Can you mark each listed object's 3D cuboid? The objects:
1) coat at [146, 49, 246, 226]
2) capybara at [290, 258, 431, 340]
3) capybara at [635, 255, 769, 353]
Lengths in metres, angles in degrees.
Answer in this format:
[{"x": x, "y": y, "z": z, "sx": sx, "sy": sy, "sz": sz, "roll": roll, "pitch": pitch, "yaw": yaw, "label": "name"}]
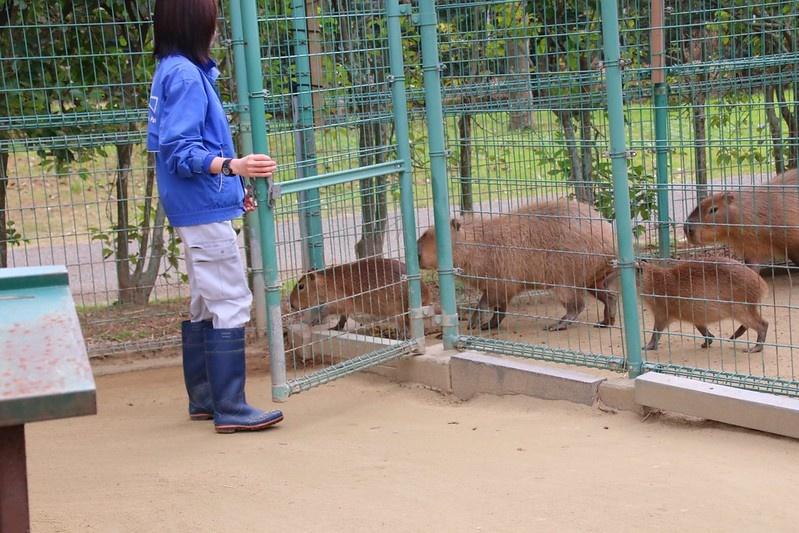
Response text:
[{"x": -1.461, "y": -0.961, "z": 6.525, "sx": 0.755, "sy": 1.411, "sz": 1.550, "roll": -4, "pitch": 10, "yaw": -7, "label": "coat"}, {"x": -0.361, "y": 0.261, "z": 8.376, "sx": 1.365, "sy": 0.781, "sz": 0.490, "roll": 3, "pitch": -1, "yaw": -10, "label": "capybara"}, {"x": 2.470, "y": 0.325, "z": 7.595, "sx": 1.138, "sy": 0.857, "sz": 0.538, "roll": -3, "pitch": 4, "yaw": 27, "label": "capybara"}]
